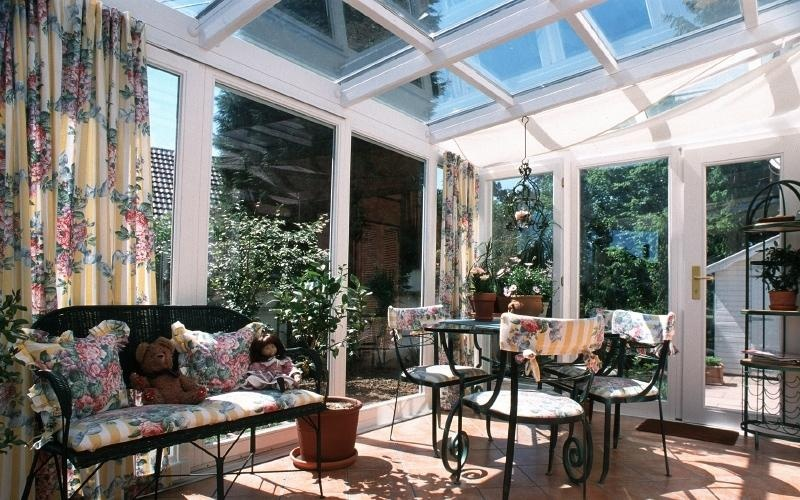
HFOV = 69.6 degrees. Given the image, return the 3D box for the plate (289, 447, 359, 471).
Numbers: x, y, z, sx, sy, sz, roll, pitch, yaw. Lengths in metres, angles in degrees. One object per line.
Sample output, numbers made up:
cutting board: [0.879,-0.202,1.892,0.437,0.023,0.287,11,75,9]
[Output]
plate: [-0.604,1.668,4.606,0.333,0.051,0.317,3,-7,-26]

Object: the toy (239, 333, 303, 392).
toy: [-0.993,0.844,4.385,0.416,0.394,0.383,8,-15,-24]

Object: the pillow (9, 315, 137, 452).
pillow: [-2.086,0.857,3.617,0.361,0.789,0.914,-20,-10,33]

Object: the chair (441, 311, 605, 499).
chair: [0.935,1.168,4.431,1.149,1.373,1.081,-1,-5,6]

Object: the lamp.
lamp: [1.334,-0.752,6.060,0.433,1.211,1.431,-2,-6,14]

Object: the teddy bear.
teddy bear: [-1.646,0.854,4.020,0.418,0.490,0.382,-8,-7,-35]

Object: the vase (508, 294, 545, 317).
vase: [1.130,0.493,5.140,0.253,0.174,0.244,3,-4,-35]

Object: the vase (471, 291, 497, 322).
vase: [0.747,0.491,5.077,0.247,0.230,0.233,3,-7,-15]

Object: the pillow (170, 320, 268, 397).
pillow: [-1.331,0.806,4.188,0.524,0.448,0.191,-4,-29,-37]

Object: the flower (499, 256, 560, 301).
flower: [1.435,0.317,6.205,0.609,0.305,0.553,0,7,5]
